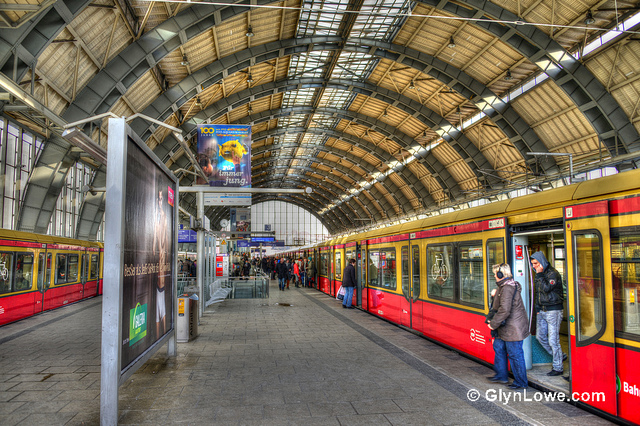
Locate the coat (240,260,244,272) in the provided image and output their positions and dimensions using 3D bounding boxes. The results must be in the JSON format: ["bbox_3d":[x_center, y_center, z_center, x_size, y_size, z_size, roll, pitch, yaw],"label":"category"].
[{"bbox_3d":[-6.680,4.492,32.052,0.637,0.900,0.336,-5,-11,42],"label":"coat"}]

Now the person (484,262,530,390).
[{"bbox_3d":[4.012,2.364,7.985,0.730,2.533,0.552,-6,-11,28],"label":"person"}]

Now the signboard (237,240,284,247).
[{"bbox_3d":[-8.658,4.427,52.285,5.626,0.856,6.496,2,-12,-18],"label":"signboard"}]

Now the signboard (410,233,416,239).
[{"bbox_3d":[3.059,0.747,12.335,0.100,0.175,0.190,5,-9,-8],"label":"signboard"}]

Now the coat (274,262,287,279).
[{"bbox_3d":[-2.949,4.363,28.534,0.525,1.343,2.880,1,-11,-9],"label":"coat"}]

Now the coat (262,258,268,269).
[{"bbox_3d":[-6.129,5.593,41.397,0.279,1.179,1.663,3,-11,-21],"label":"coat"}]

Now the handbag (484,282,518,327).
[{"bbox_3d":[3.956,2.010,8.161,0.223,0.879,0.596,19,-8,-25],"label":"handbag"}]

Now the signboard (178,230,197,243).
[{"bbox_3d":[-8.336,1.463,23.511,1.682,0.965,1.148,1,-3,-10],"label":"signboard"}]
